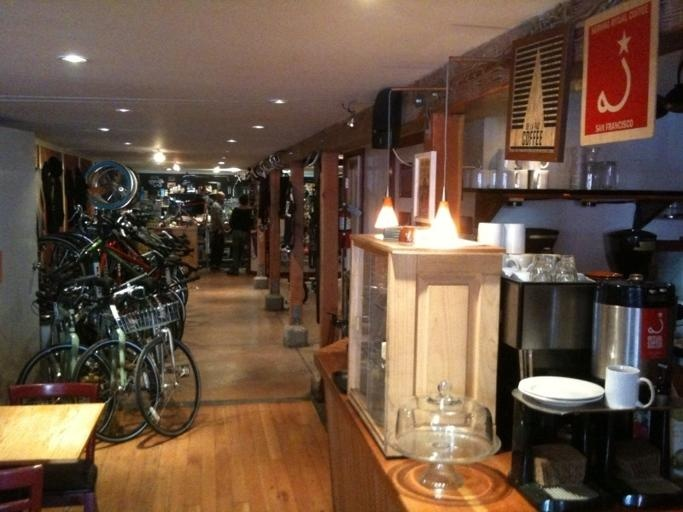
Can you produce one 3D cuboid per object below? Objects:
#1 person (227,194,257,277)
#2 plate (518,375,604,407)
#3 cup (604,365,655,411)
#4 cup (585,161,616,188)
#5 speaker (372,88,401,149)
[{"bbox_3d":[-2.679,-0.560,14.721,0.696,2.099,1.385,0,7,-11],"label":"person"},{"bbox_3d":[0.842,0.526,2.113,0.291,0.052,0.230,7,9,39],"label":"plate"},{"bbox_3d":[1.041,0.486,2.046,0.196,0.152,0.117,3,2,39],"label":"cup"},{"bbox_3d":[1.956,-0.602,4.137,0.240,0.211,0.126,-2,7,-22],"label":"cup"},{"bbox_3d":[0.349,-1.056,4.215,0.261,0.443,0.223,3,7,13],"label":"speaker"}]
